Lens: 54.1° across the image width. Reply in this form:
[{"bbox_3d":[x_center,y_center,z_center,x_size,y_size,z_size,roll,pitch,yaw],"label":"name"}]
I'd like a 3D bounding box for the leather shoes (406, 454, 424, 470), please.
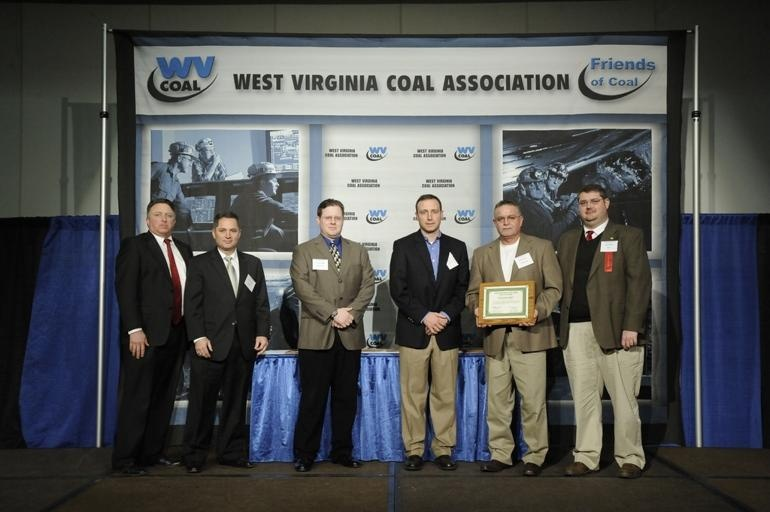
[{"bbox_3d":[0.273,1.952,7.134,0.144,0.098,0.246,0,0,3],"label":"leather shoes"}]

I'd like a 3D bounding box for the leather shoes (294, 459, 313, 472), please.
[{"bbox_3d":[-0.778,1.985,7.119,0.158,0.070,0.077,10,3,-11],"label":"leather shoes"}]

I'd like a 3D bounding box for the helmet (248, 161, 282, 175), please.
[{"bbox_3d":[-1.304,-0.919,8.019,0.222,0.079,0.163,-6,4,17],"label":"helmet"}]

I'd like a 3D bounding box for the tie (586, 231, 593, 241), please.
[{"bbox_3d":[1.957,-0.190,7.208,0.057,0.078,0.030,1,-2,28],"label":"tie"}]

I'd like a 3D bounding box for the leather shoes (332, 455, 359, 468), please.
[{"bbox_3d":[-0.379,1.981,7.295,0.276,0.124,0.104,-1,-2,14],"label":"leather shoes"}]

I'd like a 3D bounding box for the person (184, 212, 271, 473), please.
[{"bbox_3d":[-1.546,0.821,7.229,0.863,2.408,0.677,-3,13,-11],"label":"person"}]
